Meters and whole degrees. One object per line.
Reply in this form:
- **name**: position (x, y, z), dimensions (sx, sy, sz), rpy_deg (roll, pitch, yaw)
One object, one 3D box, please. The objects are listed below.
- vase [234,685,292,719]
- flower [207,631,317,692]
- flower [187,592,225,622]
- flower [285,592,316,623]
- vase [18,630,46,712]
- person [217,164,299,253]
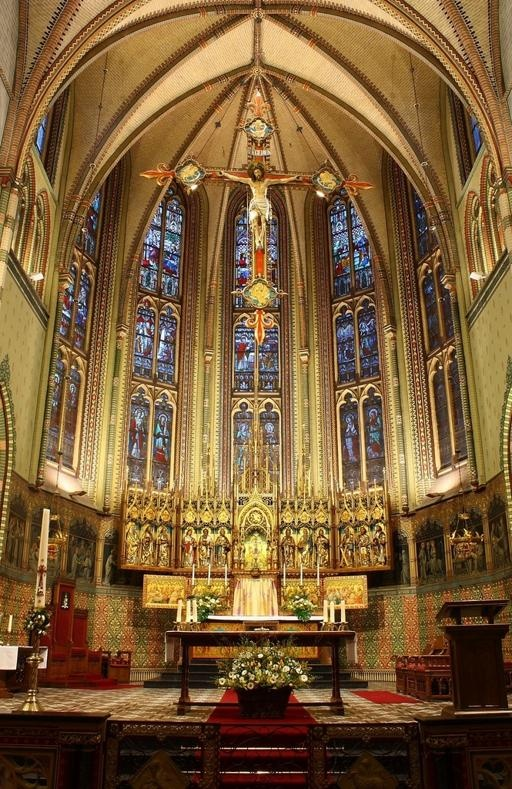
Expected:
- **vase**: position (0.082, 3.117, 5.972), dimensions (0.429, 0.199, 0.371), rpy_deg (0, -24, 0)
- **flower**: position (0.072, 2.789, 6.182), dimensions (0.680, 0.423, 0.740), rpy_deg (1, -11, -4)
- **flower**: position (-0.838, 3.495, 9.734), dimensions (0.522, 0.465, 1.638), rpy_deg (0, -21, -2)
- **flower**: position (0.782, 3.688, 10.193), dimensions (0.364, 0.439, 0.576), rpy_deg (0, -20, -2)
- **vase**: position (-1.565, 1.924, 4.111), dimensions (0.174, 0.465, 0.167), rpy_deg (11, -32, -30)
- **person**: position (0.046, -3.725, 11.531), dimensions (1.452, 1.959, 0.953), rpy_deg (1, -20, -5)
